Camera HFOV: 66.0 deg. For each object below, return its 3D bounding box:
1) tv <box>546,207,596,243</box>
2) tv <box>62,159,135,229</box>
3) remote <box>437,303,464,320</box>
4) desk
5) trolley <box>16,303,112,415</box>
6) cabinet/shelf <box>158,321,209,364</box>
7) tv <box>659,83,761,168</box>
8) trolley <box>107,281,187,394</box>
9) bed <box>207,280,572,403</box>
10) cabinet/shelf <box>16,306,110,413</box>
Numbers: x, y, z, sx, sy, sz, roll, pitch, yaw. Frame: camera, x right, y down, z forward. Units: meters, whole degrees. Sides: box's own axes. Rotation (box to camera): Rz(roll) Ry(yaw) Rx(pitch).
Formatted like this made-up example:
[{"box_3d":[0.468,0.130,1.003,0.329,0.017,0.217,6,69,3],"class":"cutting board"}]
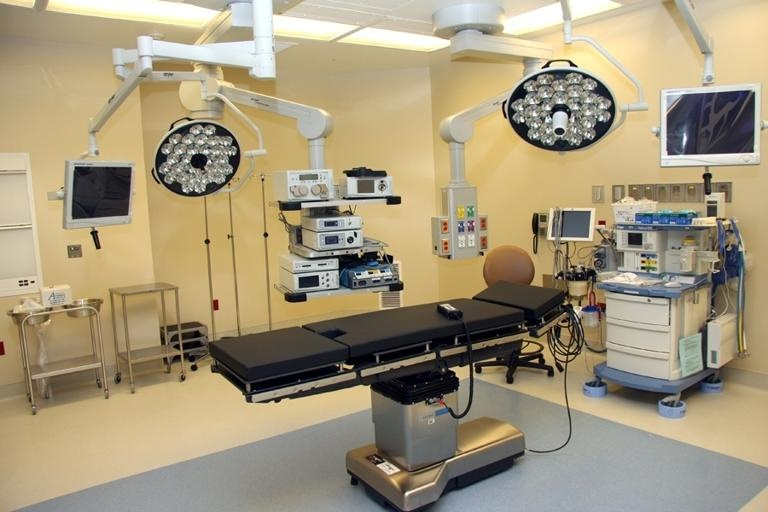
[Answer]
[{"box_3d":[1.878,-0.314,5.943,0.383,0.282,0.039,2,-4,28],"class":"tv"},{"box_3d":[-2.255,-0.494,4.669,0.092,0.559,0.614,12,12,43],"class":"tv"},{"box_3d":[0.475,0.402,4.250,0.099,0.042,0.143,-5,10,-28],"class":"remote"},{"box_3d":[-2.501,0.857,6.286,0.599,0.997,0.577,-7,4,-36],"class":"desk"},{"box_3d":[-3.275,1.055,5.989,1.050,1.143,0.680,-4,3,-35],"class":"trolley"},{"box_3d":[-2.288,0.955,6.722,0.509,0.374,0.496,-2,1,-42],"class":"cabinet/shelf"},{"box_3d":[2.603,-1.042,4.728,0.722,0.594,0.076,0,3,17],"class":"tv"},{"box_3d":[-2.696,0.870,6.250,0.794,1.130,0.828,-12,-12,12],"class":"trolley"},{"box_3d":[0.084,0.609,4.168,2.464,0.501,0.546,-6,5,-20],"class":"bed"},{"box_3d":[-3.285,1.062,5.998,1.008,1.051,0.581,-4,3,-36],"class":"cabinet/shelf"}]
